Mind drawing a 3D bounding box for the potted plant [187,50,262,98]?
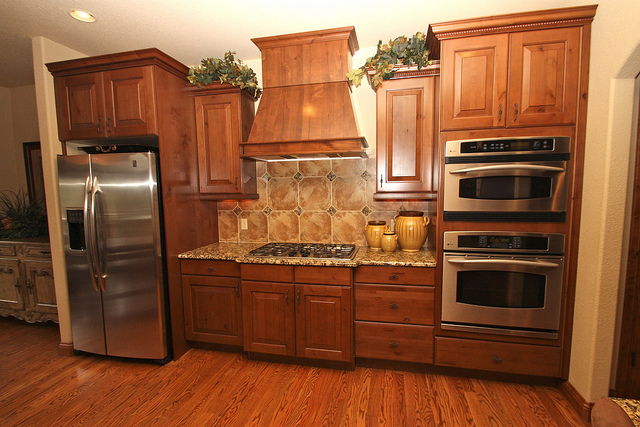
[{"bbox_3d":[-1.024,-1.476,4.852,0.663,0.377,0.431,3,6,2],"label":"potted plant"}]

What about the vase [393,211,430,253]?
[{"bbox_3d":[0.943,0.189,4.704,0.326,0.421,0.161,-3,8,-4],"label":"vase"}]

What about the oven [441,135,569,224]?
[{"bbox_3d":[1.696,-0.314,4.560,1.246,0.804,0.756,-1,4,-3],"label":"oven"}]

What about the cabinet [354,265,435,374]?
[{"bbox_3d":[0.760,1.051,4.983,1.103,1.402,1.024,-1,-2,14],"label":"cabinet"}]

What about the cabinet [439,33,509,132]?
[{"bbox_3d":[1.229,-1.213,4.641,0.887,1.124,0.806,0,2,19],"label":"cabinet"}]

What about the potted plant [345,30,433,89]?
[{"bbox_3d":[0.718,-1.525,4.718,0.851,0.434,0.335,-24,3,14],"label":"potted plant"}]

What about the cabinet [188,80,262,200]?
[{"bbox_3d":[-1.219,-0.802,5.125,0.673,1.208,0.500,-11,19,-39],"label":"cabinet"}]

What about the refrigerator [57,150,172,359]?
[{"bbox_3d":[-2.106,0.440,4.695,1.064,2.100,0.296,-1,9,10],"label":"refrigerator"}]

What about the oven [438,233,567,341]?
[{"bbox_3d":[1.736,0.668,4.633,1.208,0.996,0.782,2,1,4],"label":"oven"}]

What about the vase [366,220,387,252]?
[{"bbox_3d":[0.584,0.229,4.825,0.323,0.314,0.279,2,8,13],"label":"vase"}]

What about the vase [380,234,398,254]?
[{"bbox_3d":[0.731,0.316,4.678,0.217,0.200,0.185,0,-4,15],"label":"vase"}]
